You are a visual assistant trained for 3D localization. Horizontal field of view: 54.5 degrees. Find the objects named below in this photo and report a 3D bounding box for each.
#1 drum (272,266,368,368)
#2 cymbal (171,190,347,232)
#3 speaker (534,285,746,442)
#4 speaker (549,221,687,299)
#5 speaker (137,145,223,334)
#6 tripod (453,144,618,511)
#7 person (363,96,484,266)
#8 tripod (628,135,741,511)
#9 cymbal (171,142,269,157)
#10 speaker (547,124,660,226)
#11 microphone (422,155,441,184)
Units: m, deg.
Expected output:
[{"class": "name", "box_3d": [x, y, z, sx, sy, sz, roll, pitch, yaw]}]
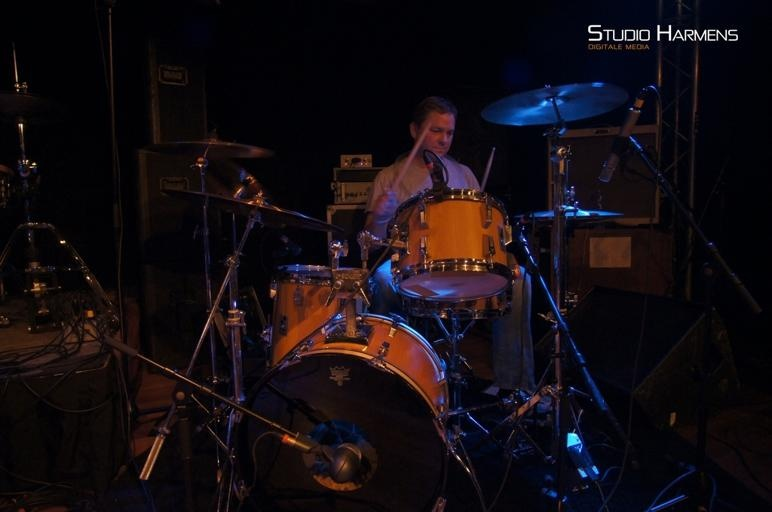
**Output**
[{"class": "drum", "box_3d": [-0.578, 0.433, 5.624, 0.764, 0.729, 0.755, 0, 1, -16]}, {"class": "cymbal", "box_3d": [-0.935, -0.340, 5.703, 0.620, 0.155, 0.662, 6, -2, 10]}, {"class": "speaker", "box_3d": [2.248, 0.714, 6.370, 1.447, 0.863, 1.425, -5, 5, -28]}, {"class": "speaker", "box_3d": [2.163, 0.021, 7.147, 1.224, 0.801, 0.655, 1, 2, 4]}, {"class": "speaker", "box_3d": [-1.493, -0.200, 6.904, 0.960, 1.463, 0.974, 8, 30, 11]}, {"class": "tripod", "box_3d": [1.318, 0.472, 5.841, 0.825, 2.622, 1.875, 3, 8, 6]}, {"class": "person", "box_3d": [0.408, -0.790, 6.679, 1.301, 1.251, 0.722, -9, 18, -35]}, {"class": "tripod", "box_3d": [2.257, 0.515, 5.647, 0.803, 2.580, 0.892, 4, 8, 14]}, {"class": "cymbal", "box_3d": [-1.364, -0.873, 6.145, 0.321, 0.056, 0.339, 0, -4, 26]}, {"class": "speaker", "box_3d": [1.906, -0.691, 6.470, 1.043, 1.000, 0.613, -1, 1, 6]}, {"class": "microphone", "box_3d": [0.342, -0.645, 5.481, 0.089, 0.245, 0.087, -17, 6, 4]}]
